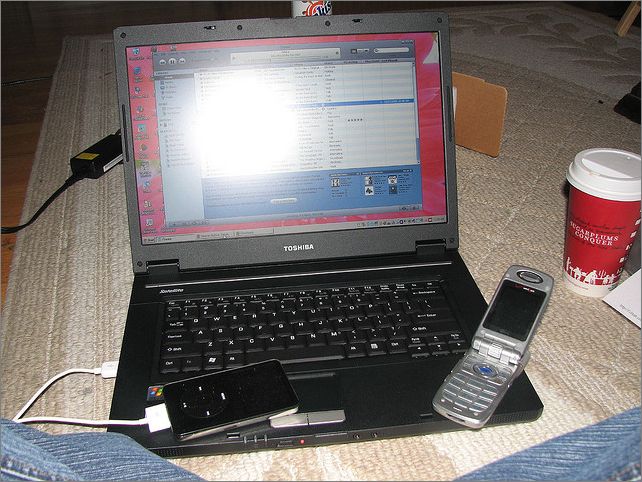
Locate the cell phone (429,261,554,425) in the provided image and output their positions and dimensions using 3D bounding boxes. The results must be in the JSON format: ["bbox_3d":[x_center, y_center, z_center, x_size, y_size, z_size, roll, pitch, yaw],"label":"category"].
[{"bbox_3d":[0.207,0.116,0.610,0.067,0.072,0.223,24,44,25],"label":"cell phone"}]

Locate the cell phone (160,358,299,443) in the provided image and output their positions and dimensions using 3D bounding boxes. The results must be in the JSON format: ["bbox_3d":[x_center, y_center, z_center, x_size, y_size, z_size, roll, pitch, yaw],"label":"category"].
[{"bbox_3d":[-0.098,0.168,0.572,0.130,0.016,0.069,-10,38,-13],"label":"cell phone"}]
